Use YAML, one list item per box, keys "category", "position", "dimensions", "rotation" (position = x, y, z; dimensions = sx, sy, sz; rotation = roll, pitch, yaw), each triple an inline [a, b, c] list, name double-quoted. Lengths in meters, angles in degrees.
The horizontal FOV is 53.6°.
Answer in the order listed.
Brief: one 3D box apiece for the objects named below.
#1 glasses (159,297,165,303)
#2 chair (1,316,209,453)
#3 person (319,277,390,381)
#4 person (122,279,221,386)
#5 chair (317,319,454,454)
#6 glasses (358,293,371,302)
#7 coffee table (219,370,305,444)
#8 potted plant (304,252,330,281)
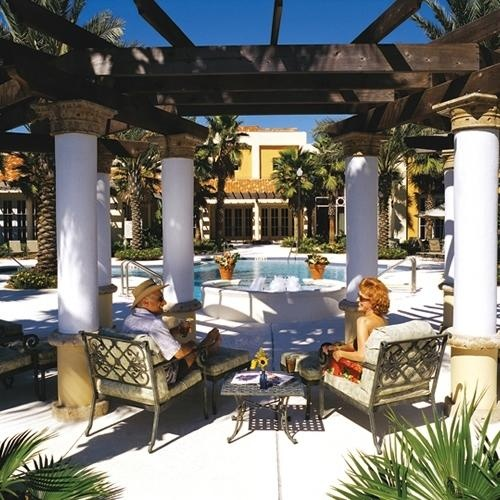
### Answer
- category: "glasses"
  position: [-0.830, 0.464, 4.594]
  dimensions: [0.040, 0.054, 0.054]
  rotation: [0, 9, 3]
- category: "chair"
  position: [-1.027, 1.147, 4.503]
  dimensions: [0.971, 0.925, 0.819]
  rotation: [1, 4, 29]
- category: "person"
  position: [0.945, 0.802, 4.493]
  dimensions: [0.578, 1.017, 0.507]
  rotation: [4, 4, 30]
- category: "person"
  position: [-0.749, 0.715, 4.668]
  dimensions: [0.998, 0.930, 0.621]
  rotation: [-19, 12, -34]
- category: "chair"
  position: [1.248, 1.012, 4.165]
  dimensions: [0.771, 0.920, 1.151]
  rotation: [-3, 4, -24]
- category: "glasses"
  position: [0.991, 0.418, 4.335]
  dimensions: [0.043, 0.079, 0.145]
  rotation: [-2, 4, -24]
- category: "coffee table"
  position: [0.103, 1.380, 4.382]
  dimensions: [0.716, 0.402, 0.668]
  rotation: [2, 0, -4]
- category: "potted plant"
  position: [1.803, 0.462, 13.436]
  dimensions: [0.767, 0.721, 0.620]
  rotation: [0, -3, 2]
